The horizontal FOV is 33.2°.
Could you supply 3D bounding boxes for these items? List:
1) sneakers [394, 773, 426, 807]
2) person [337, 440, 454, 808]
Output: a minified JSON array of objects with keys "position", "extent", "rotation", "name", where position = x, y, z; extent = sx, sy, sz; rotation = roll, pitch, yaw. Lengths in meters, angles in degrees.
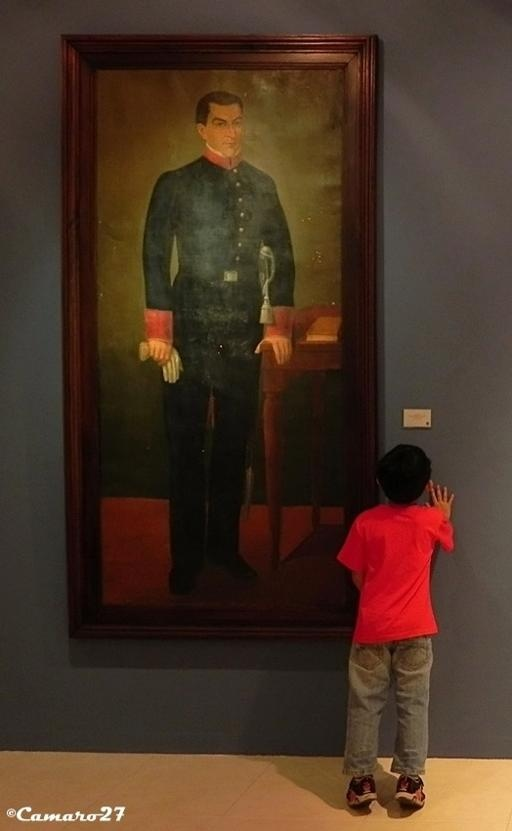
[{"position":[0.451,1.112,2.552],"extent":[0.055,0.066,0.138],"rotation":[-2,-10,13],"name":"sneakers"},{"position":[0.441,0.623,2.619],"extent":[0.406,1.068,0.299],"rotation":[-1,4,-16],"name":"person"}]
